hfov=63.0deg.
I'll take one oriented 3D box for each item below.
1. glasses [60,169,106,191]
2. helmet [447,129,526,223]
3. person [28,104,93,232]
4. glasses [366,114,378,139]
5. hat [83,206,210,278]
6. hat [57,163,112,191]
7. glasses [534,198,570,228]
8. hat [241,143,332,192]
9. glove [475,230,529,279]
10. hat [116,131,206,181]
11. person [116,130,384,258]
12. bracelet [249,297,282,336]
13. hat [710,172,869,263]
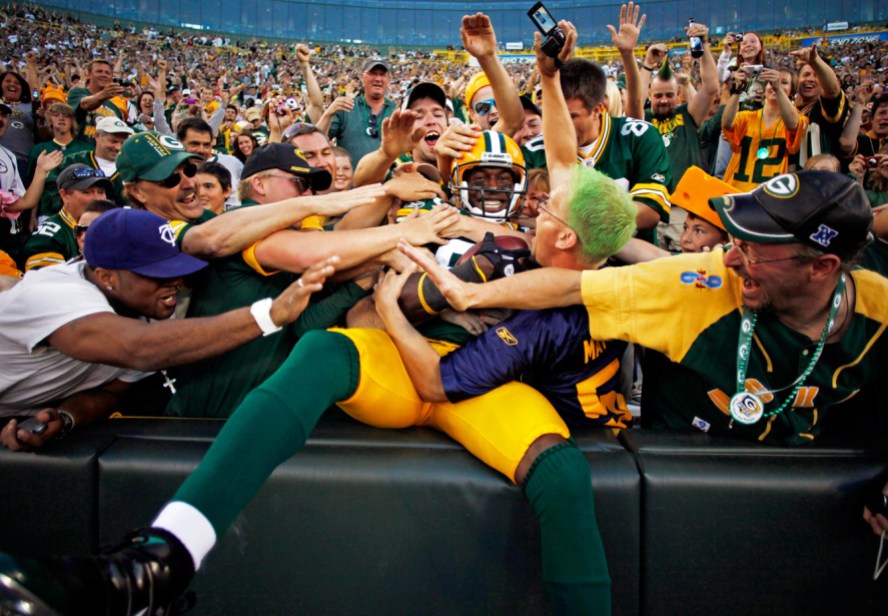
[{"bbox_3d":[-2.731,-0.946,5.472,0.265,0.133,0.175,-6,9,10],"label":"glasses"},{"bbox_3d":[0.211,-0.665,3.737,0.360,0.385,0.477,6,33,-11],"label":"helmet"},{"bbox_3d":[-3.769,-1.296,7.209,0.609,1.454,0.413,-5,2,-23],"label":"person"},{"bbox_3d":[-0.682,-1.721,6.890,0.113,0.179,0.077,0,0,3],"label":"glasses"},{"bbox_3d":[-1.402,-0.314,3.430,0.481,0.225,0.300,4,17,-10],"label":"hat"},{"bbox_3d":[-2.716,-0.976,5.473,0.328,0.163,0.221,-1,11,19],"label":"hat"},{"bbox_3d":[0.485,-0.436,3.310,0.137,0.040,0.130,31,9,-23],"label":"glasses"},{"bbox_3d":[-0.868,-0.756,4.002,0.405,0.203,0.261,-4,4,-8],"label":"hat"},{"bbox_3d":[0.281,-0.254,3.417,0.231,0.200,0.091,-7,-22,-24],"label":"glove"},{"bbox_3d":[-1.576,-0.831,4.040,0.358,0.189,0.259,-14,29,33],"label":"hat"},{"bbox_3d":[-1.084,-0.560,3.849,1.295,0.492,0.791,-15,21,0],"label":"person"},{"bbox_3d":[-0.822,0.030,3.390,0.128,0.124,0.156,-15,43,-15],"label":"bracelet"},{"bbox_3d":[1.480,-0.445,3.140,0.687,0.318,0.424,9,26,-4],"label":"hat"}]
